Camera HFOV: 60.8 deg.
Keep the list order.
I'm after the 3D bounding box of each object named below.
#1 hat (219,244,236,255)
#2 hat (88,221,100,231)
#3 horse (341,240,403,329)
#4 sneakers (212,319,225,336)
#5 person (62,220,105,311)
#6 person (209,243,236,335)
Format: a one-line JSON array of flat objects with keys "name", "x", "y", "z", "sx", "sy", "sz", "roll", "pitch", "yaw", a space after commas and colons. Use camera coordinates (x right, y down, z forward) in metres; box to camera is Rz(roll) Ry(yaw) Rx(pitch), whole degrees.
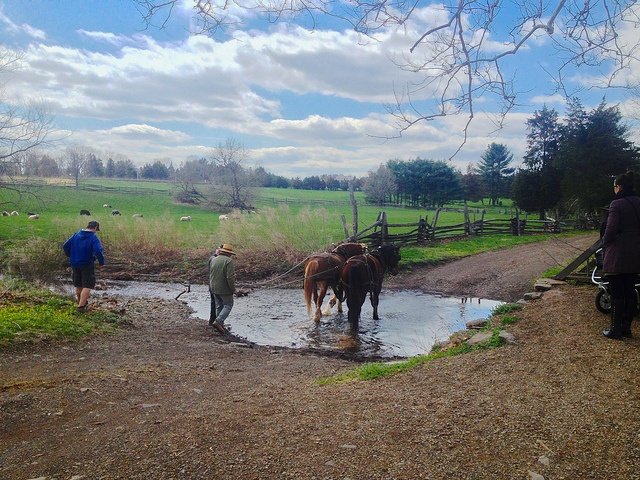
[{"name": "hat", "x": -2.424, "y": 0.244, "z": 14.316, "sx": 0.333, "sy": 0.167, "sz": 0.333, "roll": 10, "pitch": -16, "yaw": 28}, {"name": "hat", "x": -5.884, "y": -0.380, "z": 13.995, "sx": 0.233, "sy": 0.257, "sz": 0.277, "roll": 11, "pitch": 8, "yaw": 8}, {"name": "horse", "x": 1.459, "y": 1.249, "z": 15.752, "sx": 1.068, "sy": 2.059, "sz": 3.514, "roll": 7, "pitch": 6, "yaw": 23}, {"name": "sneakers", "x": -2.612, "y": 2.227, "z": 14.142, "sx": 0.216, "sy": 0.171, "sz": 0.499, "roll": -29, "pitch": 58, "yaw": -26}, {"name": "person", "x": -5.869, "y": 0.646, "z": 13.661, "sx": 0.716, "sy": 2.130, "sz": 0.882, "roll": -4, "pitch": 11, "yaw": -24}, {"name": "person", "x": -2.565, "y": 1.246, "z": 14.198, "sx": 0.610, "sy": 2.227, "sz": 0.833, "roll": -1, "pitch": 10, "yaw": -12}]
